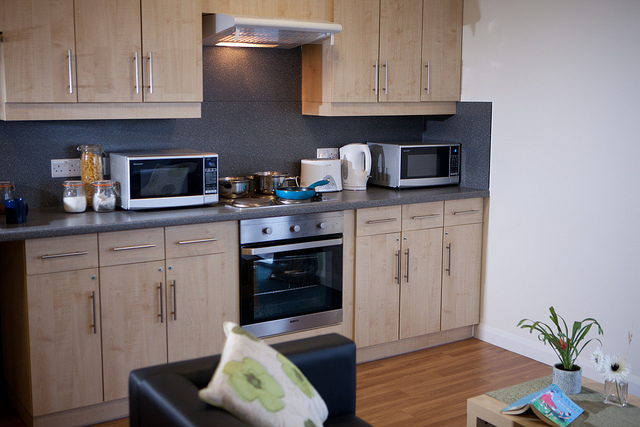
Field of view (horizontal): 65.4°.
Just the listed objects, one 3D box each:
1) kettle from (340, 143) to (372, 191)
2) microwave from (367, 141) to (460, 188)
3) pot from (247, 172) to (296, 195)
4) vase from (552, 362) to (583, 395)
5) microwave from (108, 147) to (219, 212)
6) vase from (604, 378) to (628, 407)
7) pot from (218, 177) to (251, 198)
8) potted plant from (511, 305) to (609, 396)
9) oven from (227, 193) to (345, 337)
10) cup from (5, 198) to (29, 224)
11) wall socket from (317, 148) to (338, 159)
[{"bbox_3d":[0.320,-0.386,4.238,0.226,0.364,0.367,-1,2,-24],"label":"kettle"},{"bbox_3d":[0.825,-0.432,4.454,0.738,0.360,0.518,-6,11,-29],"label":"microwave"},{"bbox_3d":[-0.421,-0.232,3.920,0.336,0.155,0.127,3,15,10],"label":"pot"},{"bbox_3d":[1.328,0.909,2.736,0.163,0.114,0.161,9,-13,-20],"label":"vase"},{"bbox_3d":[-1.111,-0.218,3.537,0.651,0.371,0.454,-6,7,-33],"label":"microwave"},{"bbox_3d":[1.555,0.925,2.613,0.078,0.122,0.097,8,-5,-34],"label":"vase"},{"bbox_3d":[-0.649,-0.200,3.800,0.186,0.079,0.172,0,6,0],"label":"pot"},{"bbox_3d":[1.365,0.759,2.760,0.380,0.270,0.437,-13,-3,4],"label":"potted plant"},{"bbox_3d":[-0.344,0.362,3.848,0.954,1.020,0.826,-2,13,-15],"label":"oven"},{"bbox_3d":[-1.832,-0.014,3.000,0.149,0.175,0.128,-5,11,-38],"label":"cup"},{"bbox_3d":[0.085,-0.519,4.323,0.150,0.091,0.033,-4,12,-19],"label":"wall socket"}]
